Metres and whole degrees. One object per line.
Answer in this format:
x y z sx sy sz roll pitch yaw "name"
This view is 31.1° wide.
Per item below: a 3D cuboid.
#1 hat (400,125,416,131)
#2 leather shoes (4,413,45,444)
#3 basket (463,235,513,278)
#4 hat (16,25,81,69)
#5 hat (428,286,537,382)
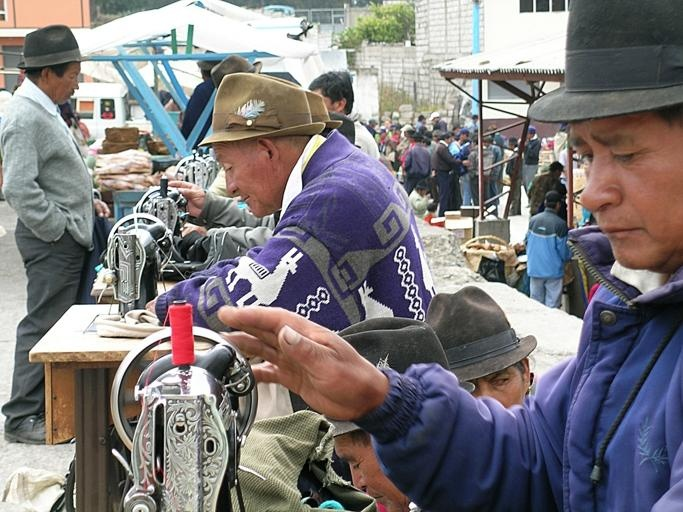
1.387 -2.663 25.463 0.410 0.185 0.548 0 7 0 "hat"
-2.078 1.154 8.171 0.350 0.174 0.154 1 -1 6 "leather shoes"
1.428 0.053 11.964 0.574 0.293 0.494 7 20 -2 "basket"
-2.006 -1.377 8.312 0.359 0.205 0.329 -19 13 17 "hat"
0.628 0.343 5.696 0.404 0.205 0.467 -27 2 20 "hat"
